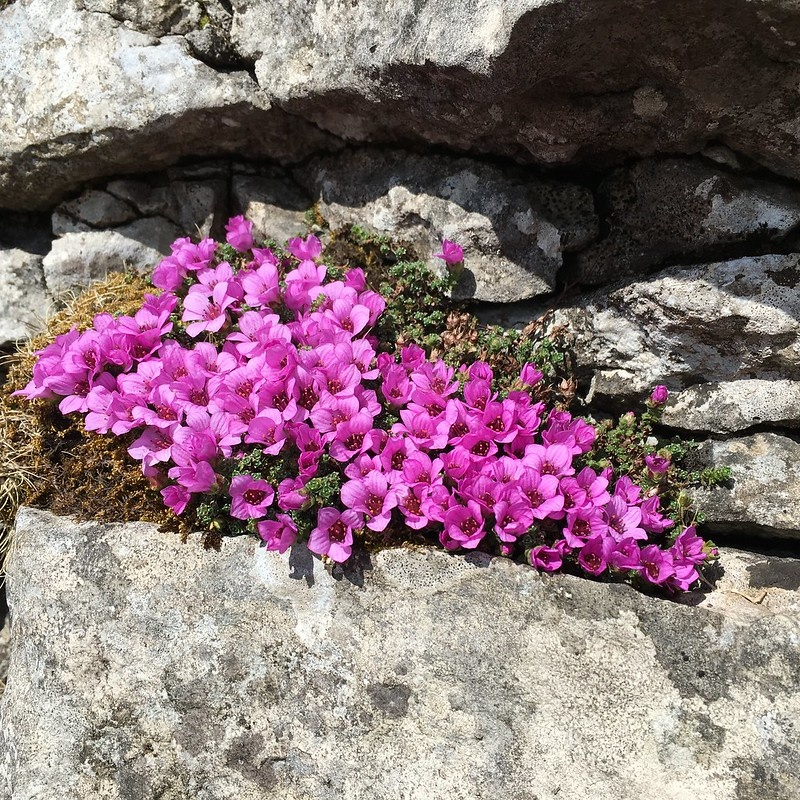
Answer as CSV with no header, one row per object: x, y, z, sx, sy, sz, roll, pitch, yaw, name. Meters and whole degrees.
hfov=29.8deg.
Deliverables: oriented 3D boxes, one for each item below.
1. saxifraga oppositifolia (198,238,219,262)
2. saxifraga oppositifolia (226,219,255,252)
-1.107,-0.877,8.689,0.108,0.069,0.123,-23,83,9,saxifraga oppositifolia
-0.955,-0.980,8.847,0.159,0.238,0.205,-6,69,1,saxifraga oppositifolia
